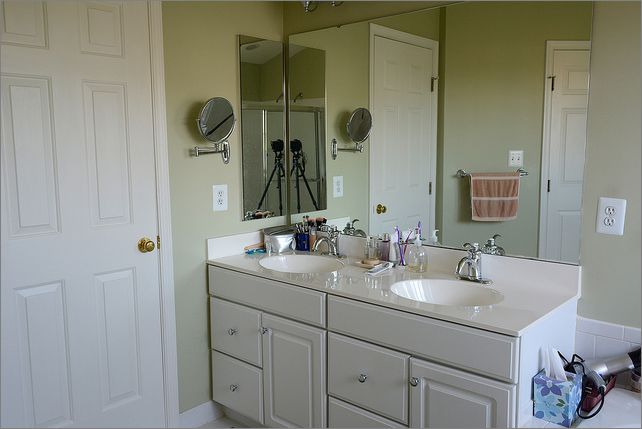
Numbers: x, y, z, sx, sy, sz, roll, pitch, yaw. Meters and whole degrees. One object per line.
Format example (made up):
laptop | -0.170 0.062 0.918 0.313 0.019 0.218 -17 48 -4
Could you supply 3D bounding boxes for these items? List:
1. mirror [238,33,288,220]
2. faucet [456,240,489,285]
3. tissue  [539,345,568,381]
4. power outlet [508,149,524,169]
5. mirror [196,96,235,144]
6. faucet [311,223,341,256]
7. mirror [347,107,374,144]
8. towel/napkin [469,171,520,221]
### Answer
mirror | -0.392 -0.589 3.226 0.101 1.202 0.399 6 11 42
faucet | 0.832 0.246 2.628 0.179 0.226 0.247 -1 1 -38
tissue  | 1.080 0.693 2.162 0.079 0.144 0.114 -6 9 -32
power outlet | 1.045 -0.302 2.500 0.098 0.119 0.013 4 7 38
mirror | -0.672 -0.594 2.923 0.258 0.273 0.046 -15 11 -29
faucet | 0.039 0.173 3.070 0.138 0.220 0.231 1 -1 44
mirror | 0.259 -0.577 3.004 0.039 0.249 0.198 -4 17 -43
towel/napkin | 0.965 -0.105 2.569 0.262 0.302 0.052 1 5 30
